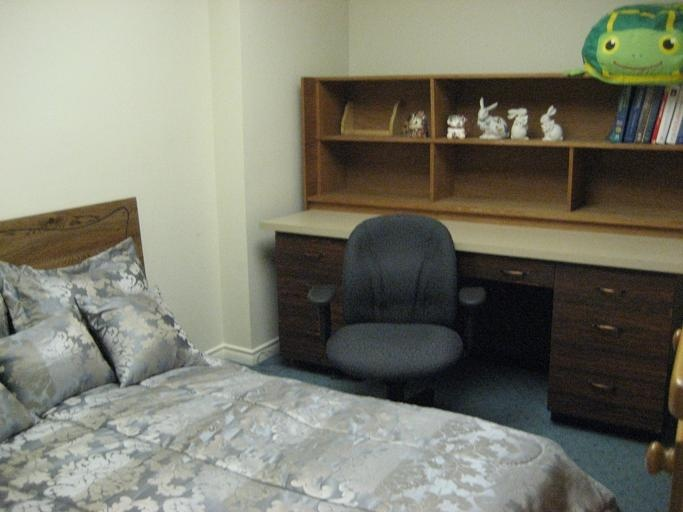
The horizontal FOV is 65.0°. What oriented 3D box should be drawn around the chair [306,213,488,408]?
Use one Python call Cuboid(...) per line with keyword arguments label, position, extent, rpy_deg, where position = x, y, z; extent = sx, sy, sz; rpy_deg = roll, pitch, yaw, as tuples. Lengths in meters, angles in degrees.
Cuboid(label="chair", position=(0.272, 0.415, 2.661), extent=(0.836, 1.098, 0.685), rpy_deg=(-2, 10, 0))
